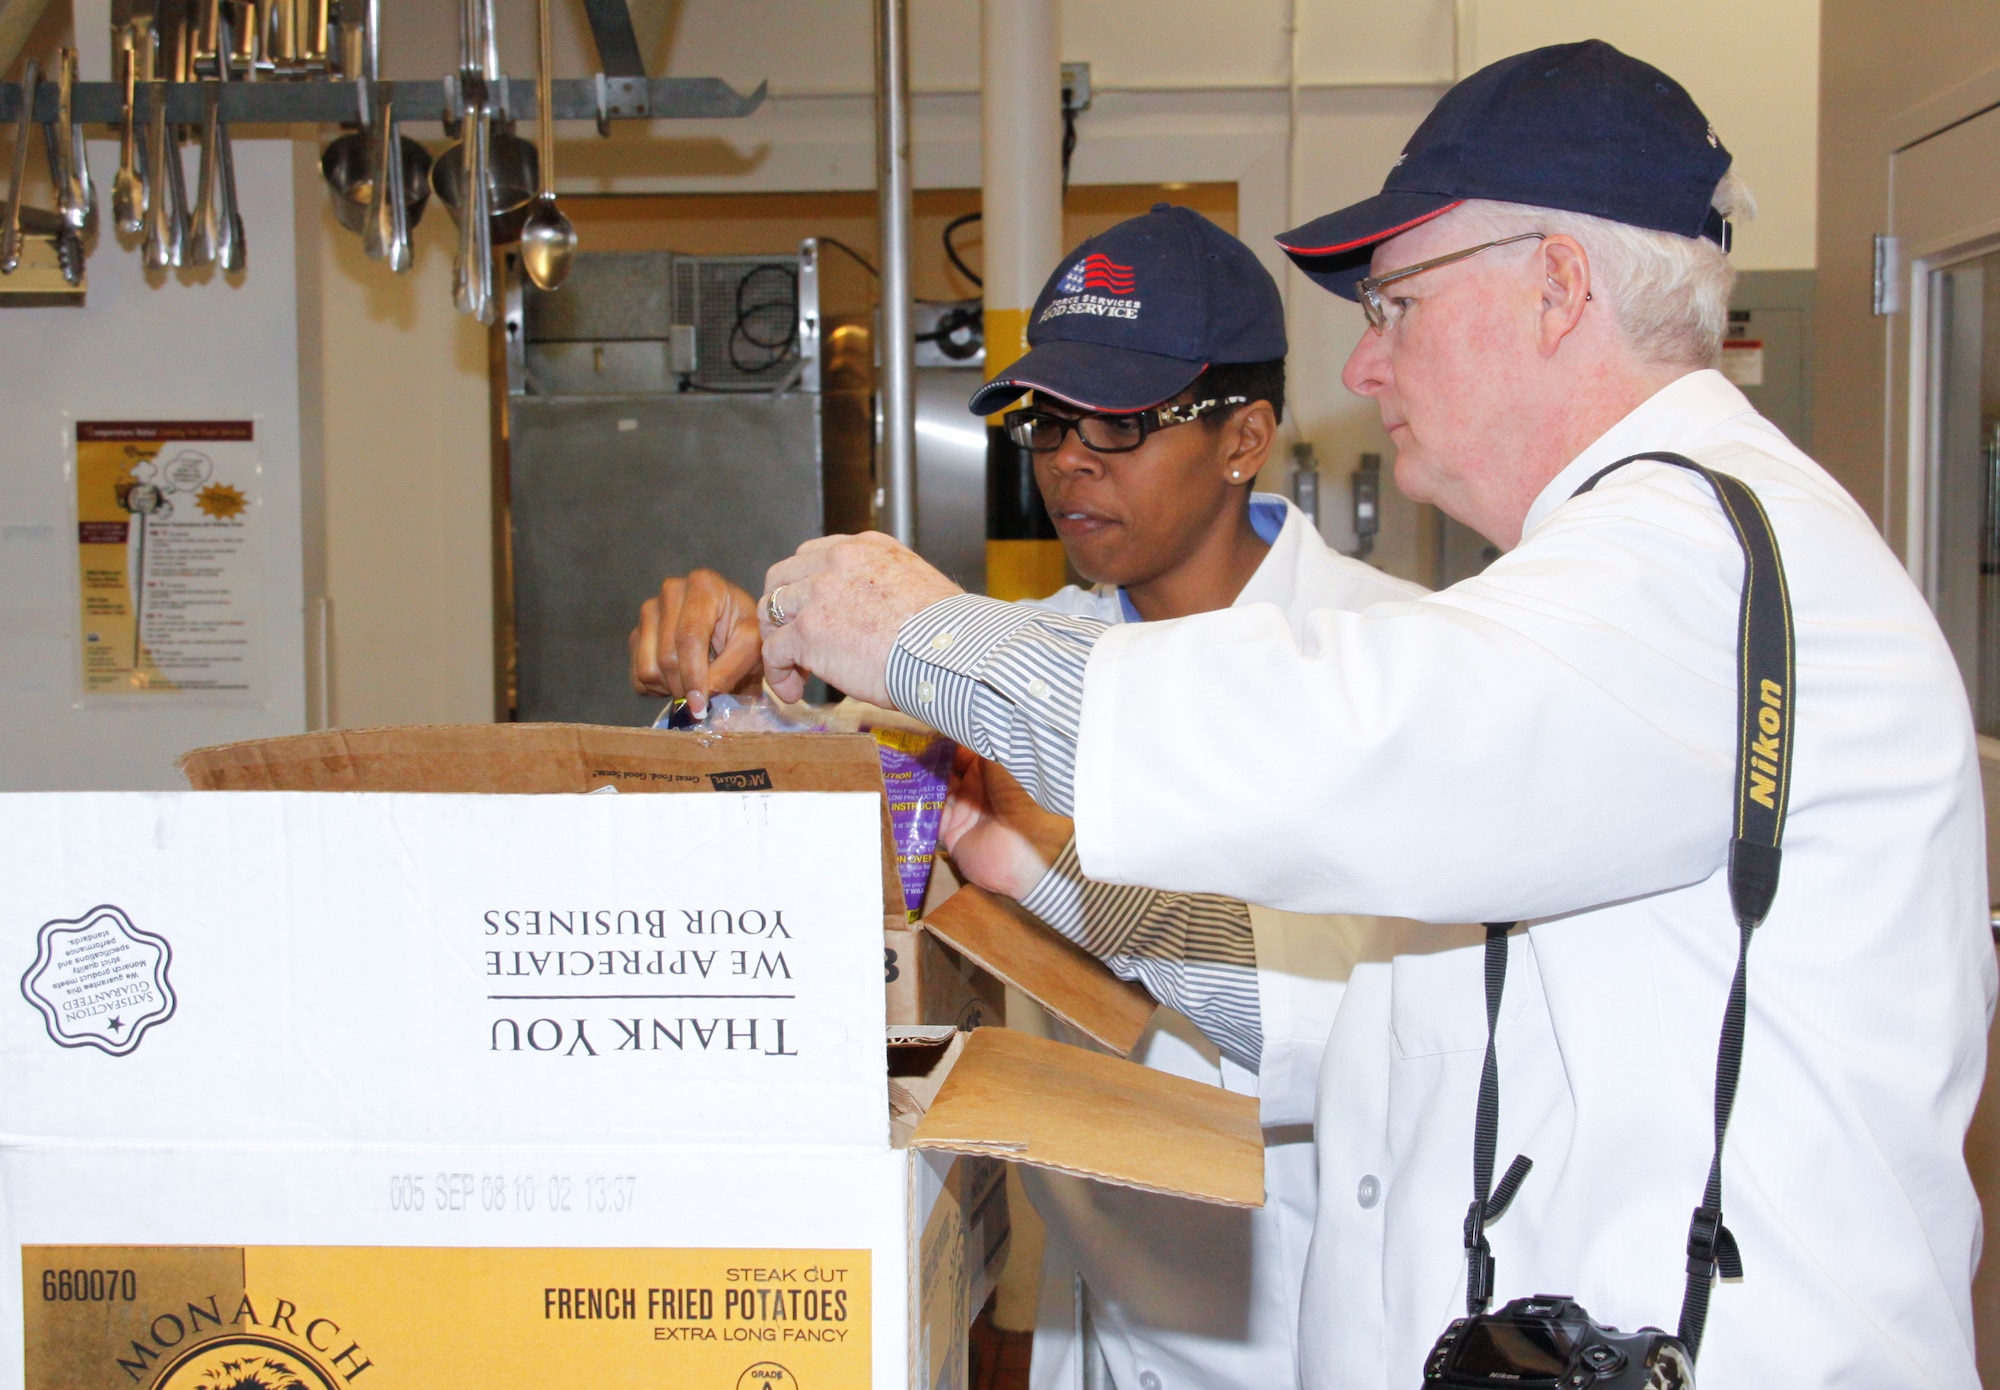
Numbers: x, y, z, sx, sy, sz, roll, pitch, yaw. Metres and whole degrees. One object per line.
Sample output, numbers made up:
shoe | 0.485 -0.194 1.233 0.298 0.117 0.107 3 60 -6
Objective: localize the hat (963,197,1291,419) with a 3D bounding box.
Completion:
hat | 0.191 -0.563 4.447 0.405 0.238 0.265 -19 20 -41

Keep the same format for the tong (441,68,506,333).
tong | -0.851 -0.795 4.829 0.064 0.393 0.205 0 6 -10

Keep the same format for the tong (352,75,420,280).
tong | -0.990 -0.821 4.829 0.054 0.302 0.107 0 10 -7

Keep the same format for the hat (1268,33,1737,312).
hat | 0.678 -0.661 3.783 0.369 0.253 0.284 8 9 12
